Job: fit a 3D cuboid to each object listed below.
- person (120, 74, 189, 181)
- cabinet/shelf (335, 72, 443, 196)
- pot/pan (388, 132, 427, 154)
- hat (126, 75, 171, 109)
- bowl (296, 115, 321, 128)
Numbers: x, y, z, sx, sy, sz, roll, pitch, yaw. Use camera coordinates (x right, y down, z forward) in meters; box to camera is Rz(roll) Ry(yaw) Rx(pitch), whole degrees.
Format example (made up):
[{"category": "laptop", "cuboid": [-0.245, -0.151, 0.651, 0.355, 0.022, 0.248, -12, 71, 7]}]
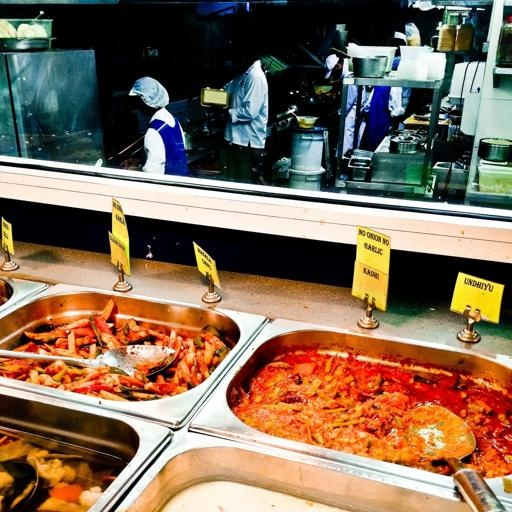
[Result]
[{"category": "person", "cuboid": [-0.697, -0.953, 3.355, 0.410, 0.669, 0.830, -6, 25, -13]}, {"category": "cabinet/shelf", "cuboid": [0.832, -0.778, 2.812, 0.636, 0.538, 0.480, 13, 31, 30]}, {"category": "pot/pan", "cuboid": [0.941, -0.694, 2.876, 0.188, 0.099, 0.171, -1, 26, 2]}, {"category": "hat", "cuboid": [-0.789, -1.226, 3.407, 0.300, 0.169, 0.190, 24, 53, -19]}, {"category": "bowl", "cuboid": [0.375, -0.981, 3.275, 0.127, 0.040, 0.116, 0, 25, 0]}]
